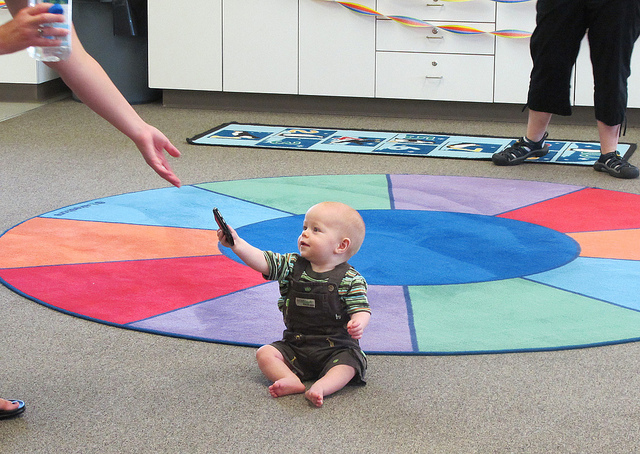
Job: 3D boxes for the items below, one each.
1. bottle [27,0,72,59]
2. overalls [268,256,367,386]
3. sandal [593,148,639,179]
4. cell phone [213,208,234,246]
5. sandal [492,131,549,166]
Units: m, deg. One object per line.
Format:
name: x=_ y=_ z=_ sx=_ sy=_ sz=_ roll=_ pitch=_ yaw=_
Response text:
bottle: x=-0.501 y=-0.375 z=1.108 sx=0.073 sy=0.113 sz=0.157 roll=-7 pitch=17 yaw=-22
overalls: x=0.009 y=0.245 z=1.521 sx=0.228 sy=0.296 sz=0.159 roll=4 pitch=19 yaw=12
sandal: x=1.694 y=-0.345 z=3.359 sx=0.129 sy=0.113 sz=0.320 roll=-13 pitch=17 yaw=-28
cell phone: x=-0.308 y=0.004 z=1.897 sx=0.029 sy=0.095 sz=0.187 roll=-32 pitch=-4 yaw=-10
sandal: x=1.263 y=-0.492 z=3.700 sx=0.466 sy=0.147 sz=0.142 roll=-15 pitch=28 yaw=-26
